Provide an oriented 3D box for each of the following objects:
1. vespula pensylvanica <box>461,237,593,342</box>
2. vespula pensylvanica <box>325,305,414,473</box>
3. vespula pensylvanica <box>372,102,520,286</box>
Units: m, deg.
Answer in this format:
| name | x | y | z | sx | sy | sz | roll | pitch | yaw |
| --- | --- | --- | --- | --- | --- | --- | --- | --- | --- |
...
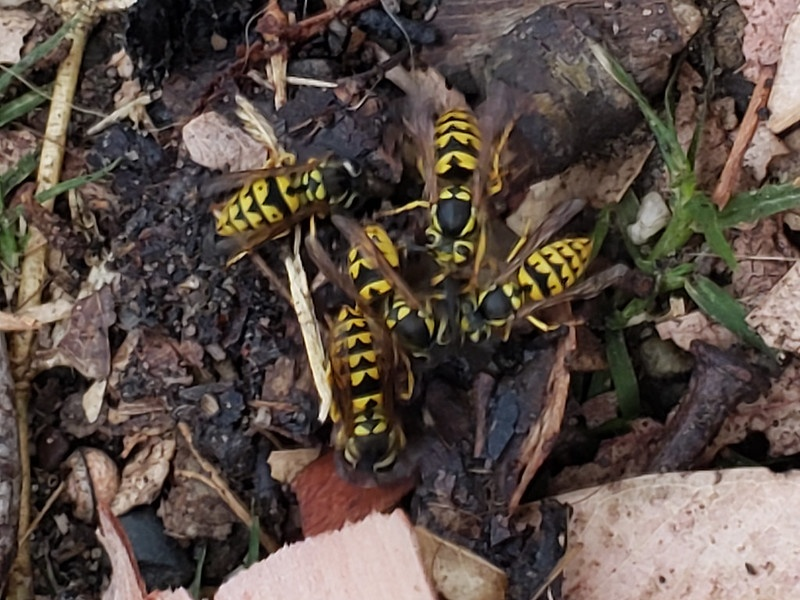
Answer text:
| name | x | y | z | sx | sy | sz | roll | pitch | yaw |
| --- | --- | --- | --- | --- | --- | --- | --- | --- | --- |
| vespula pensylvanica | 0.453 | -0.039 | 3.189 | 0.400 | 0.321 | 0.118 | -39 | -12 | 28 |
| vespula pensylvanica | -0.123 | 0.318 | 3.167 | 0.231 | 0.565 | 0.181 | -5 | 3 | 4 |
| vespula pensylvanica | 0.179 | -0.380 | 3.186 | 0.349 | 0.566 | 0.156 | 5 | 10 | 5 |
